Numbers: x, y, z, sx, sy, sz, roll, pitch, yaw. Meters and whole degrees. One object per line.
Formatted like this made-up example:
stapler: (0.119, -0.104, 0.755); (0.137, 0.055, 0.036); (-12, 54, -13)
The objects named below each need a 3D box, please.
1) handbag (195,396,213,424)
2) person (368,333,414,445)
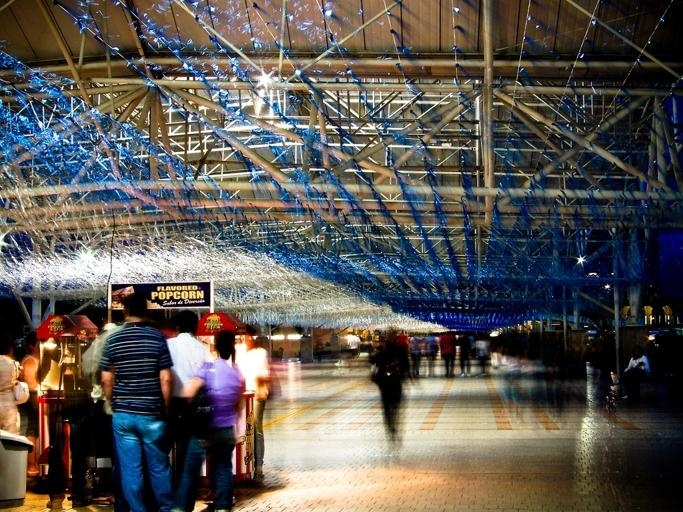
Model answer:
handbag: (-1.721, 1.963, 8.543); (0.292, 0.233, 0.073); (18, -11, -16)
person: (1.343, 3.601, 17.685); (0.928, 3.028, 1.517); (-2, -4, 2)
